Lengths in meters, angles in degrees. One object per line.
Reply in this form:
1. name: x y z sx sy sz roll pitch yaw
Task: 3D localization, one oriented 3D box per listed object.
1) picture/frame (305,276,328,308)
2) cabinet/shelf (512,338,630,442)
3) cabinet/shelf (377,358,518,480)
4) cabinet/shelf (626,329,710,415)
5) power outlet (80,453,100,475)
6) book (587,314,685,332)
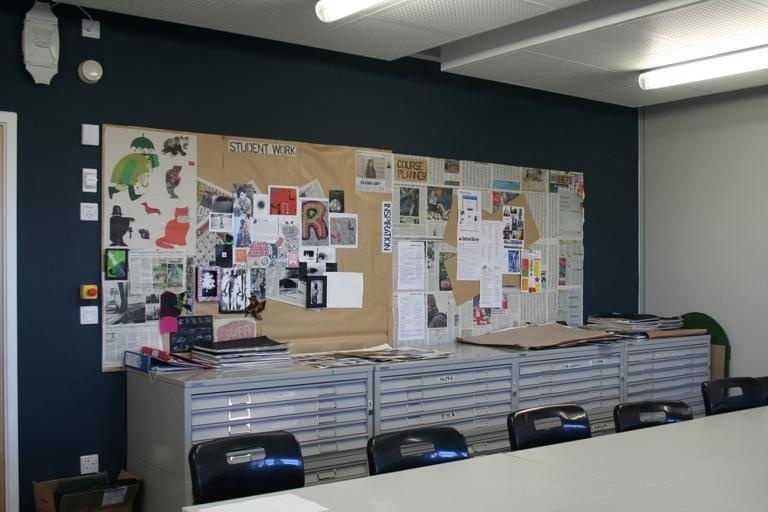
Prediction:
1. picture/frame: -0.543 0.282 4.448 0.262 0.347 0.029 1 -1 -36
2. cabinet/shelf: 1.375 0.987 4.279 0.879 0.597 0.312 -2 5 -21
3. cabinet/shelf: 0.367 1.013 3.621 0.789 0.488 0.246 1 -7 -33
4. cabinet/shelf: 2.481 1.018 5.014 0.890 0.796 0.291 0 1 -20
5. power outlet: -1.997 1.397 3.825 0.150 0.153 0.020 3 -8 -38
6. book: 2.451 0.637 5.433 0.859 0.142 0.416 0 2 3
